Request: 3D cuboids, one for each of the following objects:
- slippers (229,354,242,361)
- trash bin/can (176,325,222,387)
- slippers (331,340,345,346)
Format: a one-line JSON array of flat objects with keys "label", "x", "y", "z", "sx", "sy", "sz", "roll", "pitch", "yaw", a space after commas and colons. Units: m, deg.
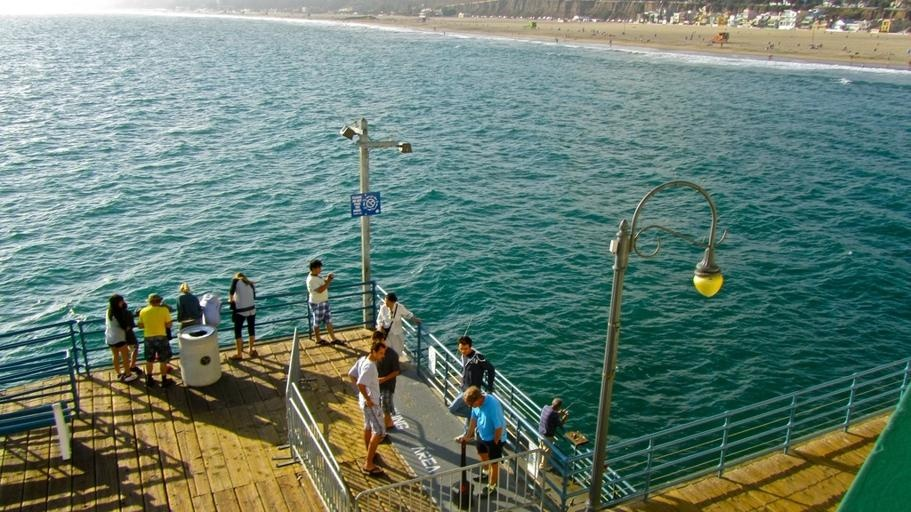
[{"label": "slippers", "x": -11.762, "y": 5.409, "z": 41.711, "sx": 0.703, "sy": 0.200, "sz": 0.319, "roll": 5, "pitch": 6, "yaw": 13}, {"label": "trash bin/can", "x": -13.289, "y": 5.237, "z": 40.537, "sx": 2.051, "sy": 2.856, "sz": 1.728, "roll": -5, "pitch": 32, "yaw": -14}, {"label": "slippers", "x": -6.407, "y": 4.732, "z": 42.545, "sx": 0.849, "sy": 0.257, "sz": 0.286, "roll": -1, "pitch": 12, "yaw": -2}]
